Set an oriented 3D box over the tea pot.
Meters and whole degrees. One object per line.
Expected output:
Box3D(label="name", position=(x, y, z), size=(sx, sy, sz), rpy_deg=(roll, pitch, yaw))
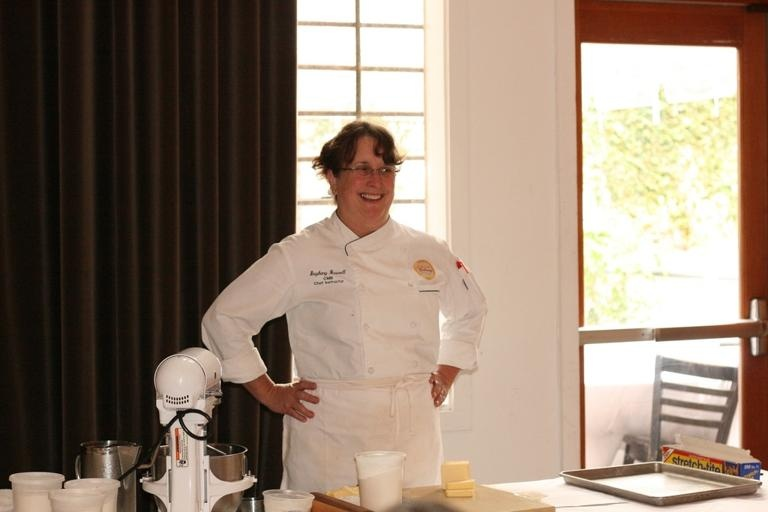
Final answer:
Box3D(label="tea pot", position=(-0.909, 0.732, 3.029), size=(0.259, 0.267, 0.179), rpy_deg=(2, -2, -1))
